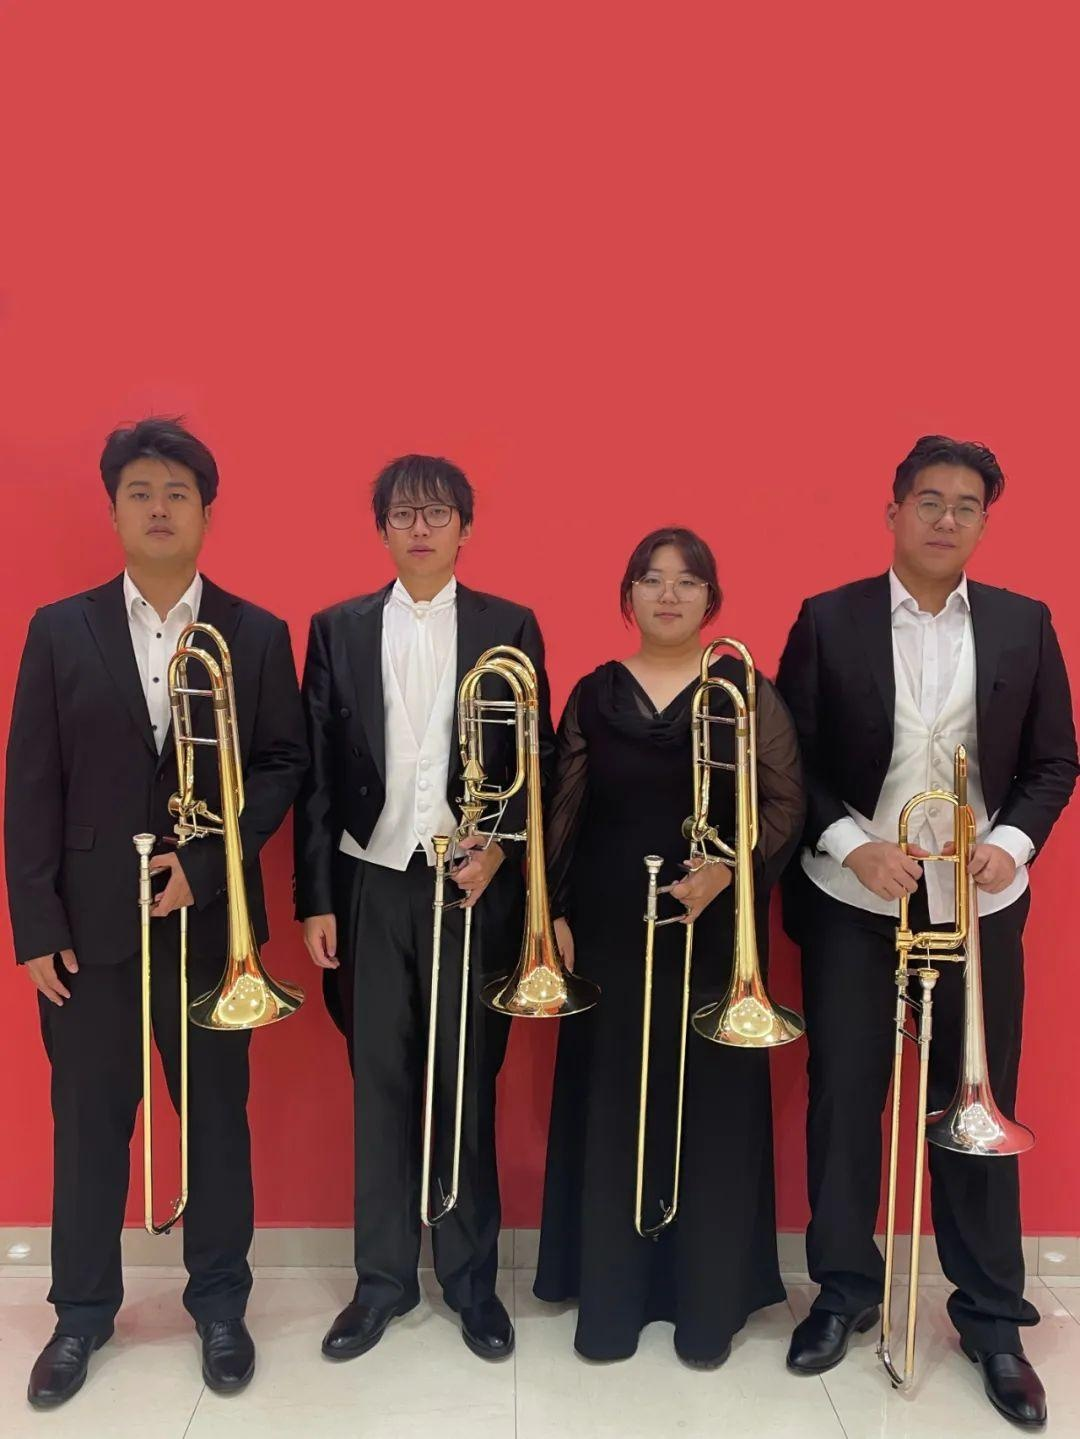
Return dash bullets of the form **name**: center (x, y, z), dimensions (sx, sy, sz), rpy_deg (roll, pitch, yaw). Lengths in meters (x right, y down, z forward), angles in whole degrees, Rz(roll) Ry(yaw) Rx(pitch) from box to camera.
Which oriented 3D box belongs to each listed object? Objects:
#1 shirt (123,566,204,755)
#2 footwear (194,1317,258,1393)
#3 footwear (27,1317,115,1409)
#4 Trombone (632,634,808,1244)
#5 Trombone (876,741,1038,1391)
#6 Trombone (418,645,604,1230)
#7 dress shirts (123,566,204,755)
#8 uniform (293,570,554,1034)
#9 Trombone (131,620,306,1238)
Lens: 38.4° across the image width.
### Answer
- **shirt**: center (-0.787, -0.140, 3.188), dimensions (0.134, 0.423, 0.073), rpy_deg (4, -15, -17)
- **footwear**: center (-0.628, 1.285, 3.129), dimensions (0.107, 0.115, 0.124), rpy_deg (-2, -2, -13)
- **footwear**: center (-0.954, 1.291, 3.083), dimensions (0.099, 0.123, 0.106), rpy_deg (-2, -2, 1)
- **Trombone**: center (0.325, 0.425, 3.076), dimensions (0.368, 1.177, 0.286), rpy_deg (0, 2, -7)
- **Trombone**: center (0.759, 0.677, 3.069), dimensions (0.340, 1.279, 0.269), rpy_deg (0, -3, -13)
- **Trombone**: center (-0.054, 0.423, 3.165), dimensions (0.368, 1.172, 0.343), rpy_deg (-1, 1, 5)
- **dress shirts**: center (-0.787, -0.147, 3.187), dimensions (0.134, 0.423, 0.073), rpy_deg (4, -15, -17)
- **uniform**: center (-0.333, 0.179, 3.334), dimensions (0.556, 0.910, 0.224), rpy_deg (-2, -4, 1)
- **Trombone**: center (-0.662, 0.414, 3.160), dimensions (0.309, 1.217, 0.475), rpy_deg (-2, -2, -15)
